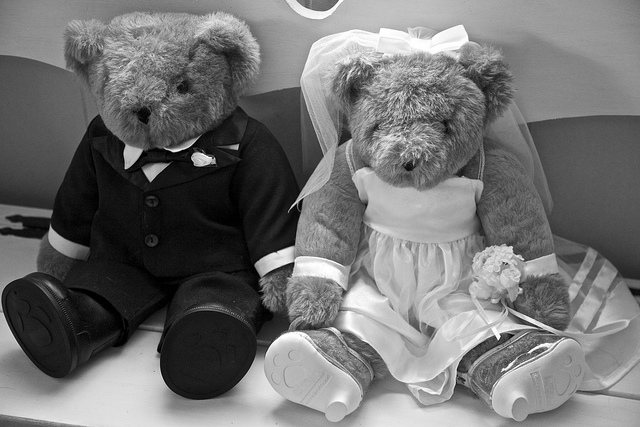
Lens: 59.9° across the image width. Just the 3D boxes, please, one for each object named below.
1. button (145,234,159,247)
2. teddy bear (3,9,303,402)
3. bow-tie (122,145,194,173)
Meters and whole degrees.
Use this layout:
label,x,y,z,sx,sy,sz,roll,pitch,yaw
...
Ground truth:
label,x,y,z,sx,sy,sz,roll,pitch,yaw
button,-0.472,0.074,1.551,0.033,0.031,0.008,-8,9,4
teddy bear,-0.425,-0.035,1.474,0.732,0.860,0.593,5,28,1
bow-tie,-0.442,-0.154,1.538,0.199,0.055,0.039,-1,23,4
